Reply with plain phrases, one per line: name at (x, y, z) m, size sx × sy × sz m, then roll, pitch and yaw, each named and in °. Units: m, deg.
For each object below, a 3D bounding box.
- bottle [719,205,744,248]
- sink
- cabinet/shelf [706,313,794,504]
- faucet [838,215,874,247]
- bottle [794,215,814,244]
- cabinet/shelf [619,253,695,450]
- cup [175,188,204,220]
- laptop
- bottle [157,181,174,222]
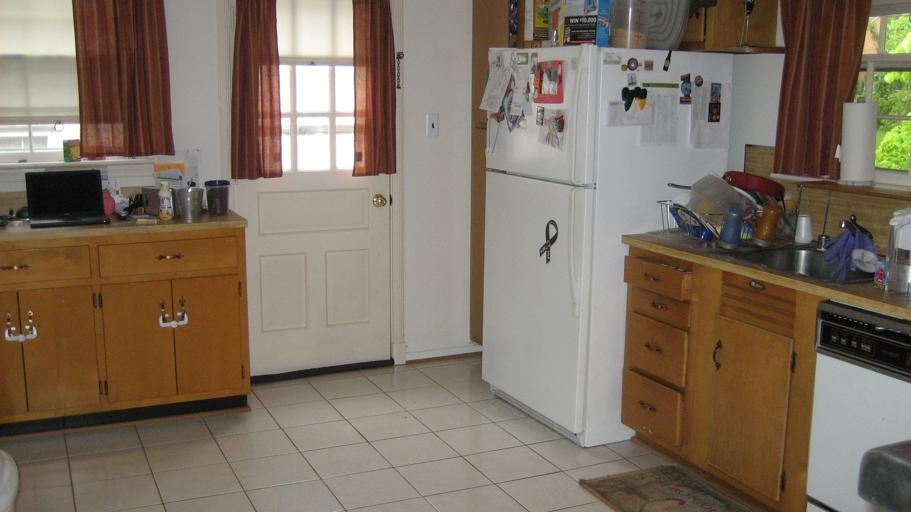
bottle at (1.798, -0.198, 4.224) m, size 0.125 × 0.254 × 0.133 m, roll -3°, pitch 16°, yaw 1°
sink at (2.194, 0.024, 4.030) m, size 0.378 × 0.159 × 0.436 m, roll -7°, pitch 18°, yaw -23°
cabinet/shelf at (1.809, 0.922, 3.990) m, size 0.185 × 1.010 × 0.519 m, roll -17°, pitch 21°, yaw -40°
faucet at (2.424, -0.170, 3.896) m, size 0.169 × 0.166 × 0.141 m, roll -1°, pitch 16°, yaw 8°
bottle at (2.297, -0.191, 4.250) m, size 0.104 × 0.187 × 0.193 m, roll 6°, pitch 18°, yaw 29°
cabinet/shelf at (1.357, 0.664, 4.422) m, size 0.509 × 1.276 × 0.305 m, roll 7°, pitch 19°, yaw 33°
cup at (-1.985, -0.388, 4.822) m, size 0.255 × 0.225 × 0.237 m, roll 3°, pitch 2°, yaw 0°
laptop at (-2.791, -0.419, 4.647) m, size 0.680 × 0.415 × 0.423 m, roll -5°, pitch 11°, yaw -30°
bottle at (-2.153, -0.409, 4.776) m, size 0.120 × 0.266 × 0.160 m, roll -6°, pitch 16°, yaw -10°
